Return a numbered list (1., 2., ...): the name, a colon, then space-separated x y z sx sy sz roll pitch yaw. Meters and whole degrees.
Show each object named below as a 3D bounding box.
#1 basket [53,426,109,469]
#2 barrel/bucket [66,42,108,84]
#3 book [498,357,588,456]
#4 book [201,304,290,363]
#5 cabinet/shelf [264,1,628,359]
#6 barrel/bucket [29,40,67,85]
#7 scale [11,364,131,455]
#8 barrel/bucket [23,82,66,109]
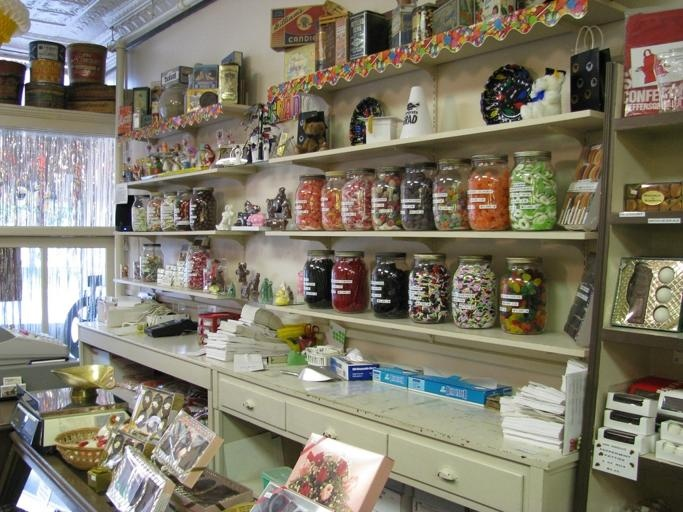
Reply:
1. basket: -1.003 0.732 2.050 0.171 0.073 0.174 -1 -2 41
2. barrel/bucket: -2.471 -1.820 5.232 0.374 0.313 0.410 1 2 0
3. book: 0.779 0.555 2.007 0.252 0.123 0.341 3 5 37
4. book: -0.581 0.477 3.253 0.426 0.196 0.322 2 2 -39
5. cabinet/shelf: 0.511 -0.357 2.490 0.367 1.283 2.076 6 -6 -42
6. barrel/bucket: -2.803 -1.825 5.074 0.316 0.404 0.219 -7 6 -31
7. scale: -1.199 0.666 2.408 0.395 0.279 0.469 0 0 -30
8. barrel/bucket: -2.805 -1.504 4.969 0.281 0.199 0.281 1 -1 0
